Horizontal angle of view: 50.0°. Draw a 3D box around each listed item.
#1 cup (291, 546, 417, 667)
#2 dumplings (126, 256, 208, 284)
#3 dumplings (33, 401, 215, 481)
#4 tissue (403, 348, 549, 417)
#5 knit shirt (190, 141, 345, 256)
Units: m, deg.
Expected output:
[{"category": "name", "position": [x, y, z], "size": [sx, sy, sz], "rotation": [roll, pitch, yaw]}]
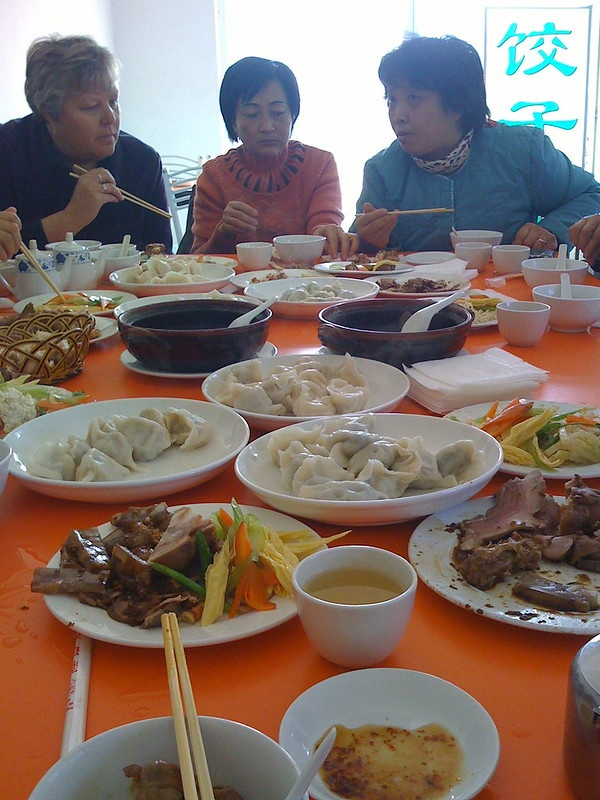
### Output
[{"category": "cup", "position": [0.067, 0.246, 0.781], "size": [0.150, 0.090, 0.139], "rotation": [-1, 16, 0]}, {"category": "dumplings", "position": [-0.574, -0.558, 2.797], "size": [0.265, 0.064, 0.239], "rotation": [-8, 34, -15]}, {"category": "dumplings", "position": [-0.375, 0.053, 1.294], "size": [0.161, 0.062, 0.262], "rotation": [14, 20, 32]}, {"category": "tissue", "position": [0.442, -0.052, 1.563], "size": [0.248, 0.065, 0.184], "rotation": [-10, 27, -18]}, {"category": "knit shirt", "position": [-0.236, -1.450, 4.588], "size": [1.038, 0.809, 0.504], "rotation": [-2, 23, -4]}]
